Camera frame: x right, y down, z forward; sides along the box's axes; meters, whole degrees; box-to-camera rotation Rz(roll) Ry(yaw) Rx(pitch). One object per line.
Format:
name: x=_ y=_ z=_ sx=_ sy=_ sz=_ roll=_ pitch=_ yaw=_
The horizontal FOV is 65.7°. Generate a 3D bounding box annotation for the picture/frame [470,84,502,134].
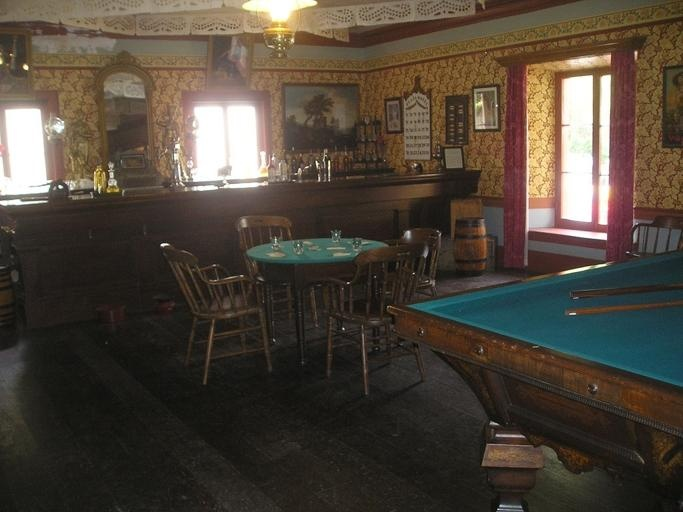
picture/frame: x=2.115 y=-2.111 z=7.656 sx=0.044 sy=0.642 sz=0.486 roll=-11 pitch=16 yaw=-35

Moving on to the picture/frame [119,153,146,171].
picture/frame: x=-3.320 y=-1.481 z=8.384 sx=0.378 sy=0.250 sz=0.232 roll=-1 pitch=25 yaw=-18

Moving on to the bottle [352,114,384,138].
bottle: x=0.500 y=-2.327 z=9.608 sx=0.483 sy=0.437 sz=0.265 roll=6 pitch=31 yaw=11

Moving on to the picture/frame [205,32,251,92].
picture/frame: x=-1.879 y=-3.169 z=8.605 sx=0.903 sy=0.967 sz=0.140 roll=-2 pitch=12 yaw=-23

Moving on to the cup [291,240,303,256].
cup: x=-0.379 y=-0.054 z=4.420 sx=0.111 sy=0.109 sz=0.107 roll=1 pitch=9 yaw=0

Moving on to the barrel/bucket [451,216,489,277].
barrel/bucket: x=1.674 y=-0.122 z=6.860 sx=0.670 sy=0.965 sz=0.649 roll=0 pitch=-2 yaw=0

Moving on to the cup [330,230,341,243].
cup: x=-0.030 y=-0.175 z=4.863 sx=0.126 sy=0.132 sz=0.122 roll=1 pitch=11 yaw=0

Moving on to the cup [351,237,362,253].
cup: x=0.123 y=-0.088 z=4.506 sx=0.106 sy=0.121 sz=0.105 roll=1 pitch=10 yaw=0
